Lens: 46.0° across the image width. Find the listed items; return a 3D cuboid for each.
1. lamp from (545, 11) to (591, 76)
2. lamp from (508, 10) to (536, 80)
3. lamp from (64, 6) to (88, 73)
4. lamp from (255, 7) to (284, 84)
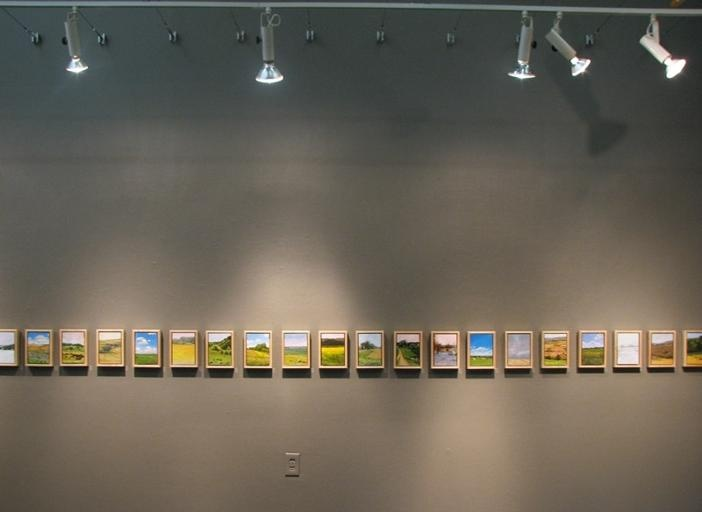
[{"bbox_3d":[2.733,-2.696,10.541,0.480,0.893,0.799,-4,-9,14],"label":"lamp"},{"bbox_3d":[2.144,-2.702,10.497,0.360,0.939,0.813,-4,-9,12],"label":"lamp"},{"bbox_3d":[-3.473,-2.758,10.467,0.275,0.964,0.780,1,-9,-19],"label":"lamp"},{"bbox_3d":[-1.029,-2.709,10.458,0.346,1.181,0.873,-1,-9,-6],"label":"lamp"}]
